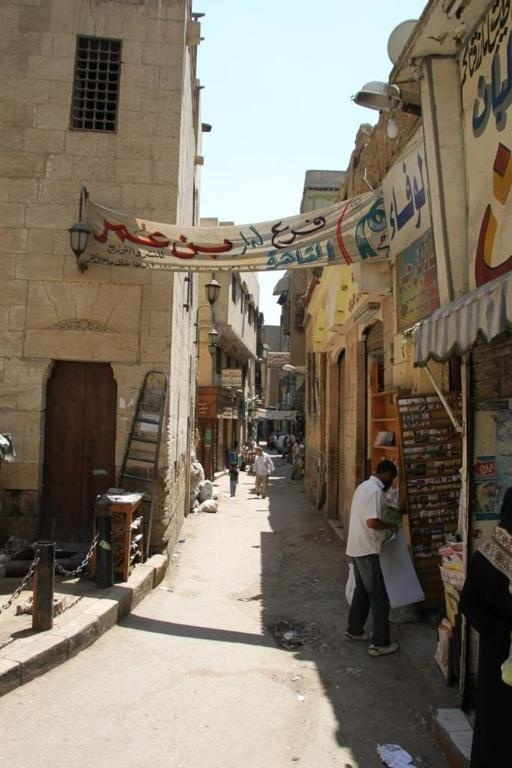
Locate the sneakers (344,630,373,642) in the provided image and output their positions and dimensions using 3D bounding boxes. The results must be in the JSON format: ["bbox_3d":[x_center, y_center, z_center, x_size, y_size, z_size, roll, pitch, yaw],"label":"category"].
[{"bbox_3d":[0.845,2.095,5.625,0.202,0.092,0.081,1,-2,-10],"label":"sneakers"}]

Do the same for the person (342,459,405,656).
[{"bbox_3d":[0.951,1.376,5.465,0.405,1.496,0.571,2,-4,1],"label":"person"}]

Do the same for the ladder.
[{"bbox_3d":[-1.388,1.153,7.906,0.516,2.786,0.126,7,26,-17],"label":"ladder"}]

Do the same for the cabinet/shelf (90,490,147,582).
[{"bbox_3d":[-1.317,1.485,6.460,0.308,0.795,0.825,-1,-5,1],"label":"cabinet/shelf"}]

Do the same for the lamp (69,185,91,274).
[{"bbox_3d":[-1.981,-1.809,7.565,0.242,1.014,0.484,3,-4,-17],"label":"lamp"}]

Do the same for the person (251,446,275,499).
[{"bbox_3d":[0.176,2.310,17.454,0.429,1.260,1.275,1,-4,2],"label":"person"}]

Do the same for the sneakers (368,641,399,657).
[{"bbox_3d":[0.982,2.036,5.206,0.211,0.097,0.089,-4,2,-18],"label":"sneakers"}]
